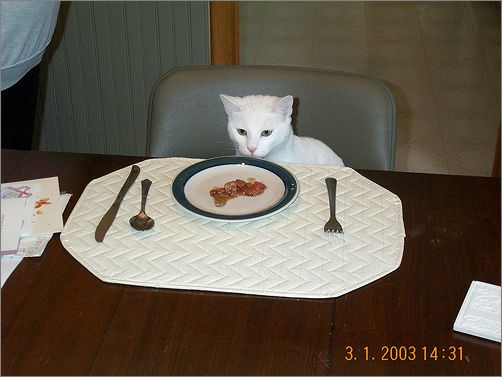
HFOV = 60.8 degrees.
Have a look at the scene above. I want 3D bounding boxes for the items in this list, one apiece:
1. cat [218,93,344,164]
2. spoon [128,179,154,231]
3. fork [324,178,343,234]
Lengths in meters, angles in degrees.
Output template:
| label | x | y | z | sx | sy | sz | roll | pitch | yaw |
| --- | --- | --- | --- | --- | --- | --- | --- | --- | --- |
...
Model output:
| label | x | y | z | sx | sy | sz | roll | pitch | yaw |
| --- | --- | --- | --- | --- | --- | --- | --- | --- | --- |
| cat | 0.088 | -0.112 | 1.131 | 0.172 | 0.280 | 0.221 | -8 | 86 | 34 |
| spoon | -0.205 | 0.032 | 0.814 | 0.045 | 0.023 | 0.169 | 7 | 28 | -15 |
| fork | 0.151 | 0.031 | 0.798 | 0.029 | 0.013 | 0.122 | 2 | 51 | 3 |
